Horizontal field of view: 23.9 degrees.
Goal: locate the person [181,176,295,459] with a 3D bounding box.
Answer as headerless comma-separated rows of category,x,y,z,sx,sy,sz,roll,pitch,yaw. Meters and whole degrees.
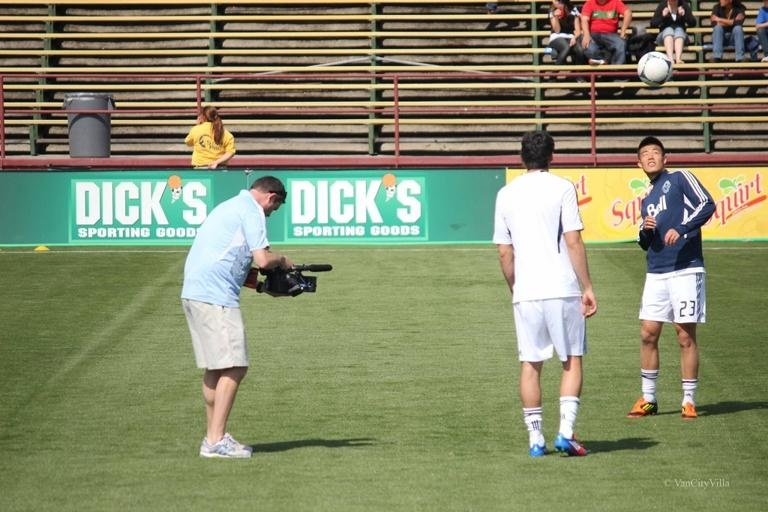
person,-2.383,0.968,28.316,1.479,4.289,0.776,-2,9,-6

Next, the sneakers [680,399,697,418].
sneakers,4.915,2.459,29.353,0.263,0.264,0.343,0,9,9

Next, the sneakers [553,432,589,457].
sneakers,2.888,2.955,28.283,0.635,0.296,0.246,23,18,-35

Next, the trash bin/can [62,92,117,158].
trash bin/can,-6.535,-2.862,40.203,1.271,1.514,1.267,-1,4,-3

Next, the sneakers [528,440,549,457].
sneakers,2.393,3.025,28.329,0.150,0.200,0.295,3,8,12

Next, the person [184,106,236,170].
person,-3.646,-2.435,37.799,0.899,1.394,0.976,2,10,21

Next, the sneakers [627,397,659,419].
sneakers,4.164,2.469,29.323,0.544,0.265,0.224,-4,-1,-17

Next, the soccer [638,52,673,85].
soccer,5.641,-3.941,38.028,0.684,0.682,0.661,7,-9,-1
